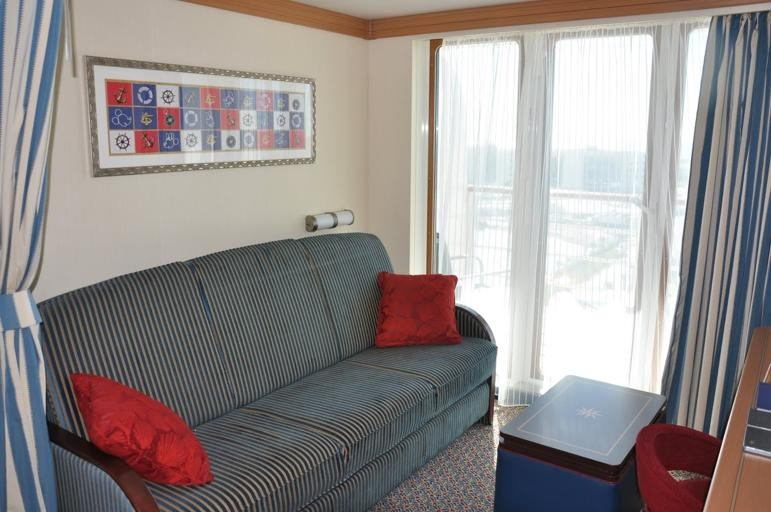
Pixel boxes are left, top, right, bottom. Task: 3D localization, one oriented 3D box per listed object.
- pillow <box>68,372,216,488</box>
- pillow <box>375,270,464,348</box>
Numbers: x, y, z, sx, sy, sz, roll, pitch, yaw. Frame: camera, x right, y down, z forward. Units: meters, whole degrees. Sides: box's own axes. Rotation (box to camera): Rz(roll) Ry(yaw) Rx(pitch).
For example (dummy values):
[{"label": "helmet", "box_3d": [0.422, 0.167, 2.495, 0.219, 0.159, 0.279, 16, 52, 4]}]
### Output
[{"label": "pillow", "box_3d": [-1.203, 0.861, 2.710, 0.676, 0.519, 0.300, 1, 12, 13]}, {"label": "pillow", "box_3d": [0.234, 0.421, 4.200, 0.492, 0.488, 0.189, -2, -28, 0]}]
